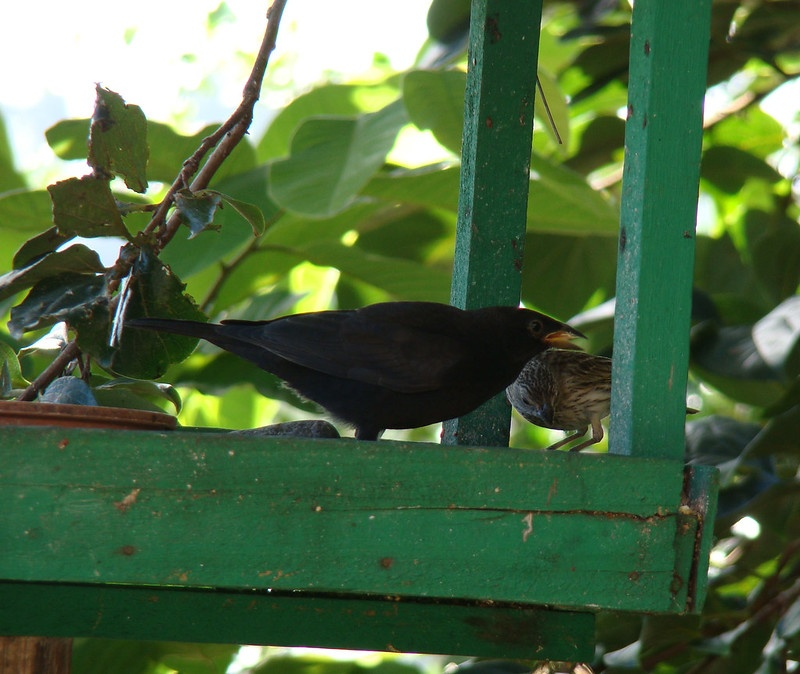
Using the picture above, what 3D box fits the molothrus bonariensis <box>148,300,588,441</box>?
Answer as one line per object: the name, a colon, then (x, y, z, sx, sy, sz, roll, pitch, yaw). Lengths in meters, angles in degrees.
molothrus bonariensis: (-0.048, 0.056, 2.300, 0.833, 0.277, 0.141, 5, -21, -5)
